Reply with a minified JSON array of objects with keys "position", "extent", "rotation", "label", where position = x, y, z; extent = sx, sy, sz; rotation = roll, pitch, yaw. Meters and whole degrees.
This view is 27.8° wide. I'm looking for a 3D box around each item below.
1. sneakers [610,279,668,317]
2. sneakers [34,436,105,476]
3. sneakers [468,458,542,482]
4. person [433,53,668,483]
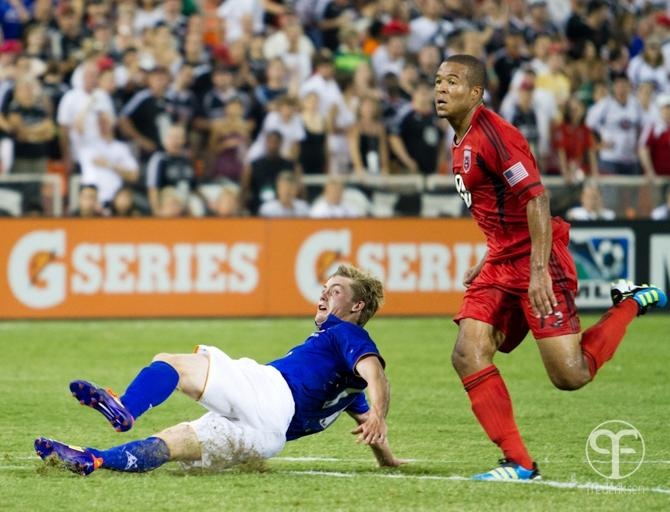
[{"position":[2.295,0.344,10.390],"extent":[0.505,0.259,0.208],"rotation":[9,-40,-11],"label":"sneakers"},{"position":[-1.830,1.390,9.318],"extent":[0.310,0.120,0.142],"rotation":[30,4,7],"label":"sneakers"},{"position":[1.200,1.517,9.531],"extent":[0.484,0.180,0.182],"rotation":[1,-24,-3],"label":"sneakers"},{"position":[1.386,0.055,9.662],"extent":[1.384,2.918,0.957],"rotation":[1,9,4],"label":"person"}]
